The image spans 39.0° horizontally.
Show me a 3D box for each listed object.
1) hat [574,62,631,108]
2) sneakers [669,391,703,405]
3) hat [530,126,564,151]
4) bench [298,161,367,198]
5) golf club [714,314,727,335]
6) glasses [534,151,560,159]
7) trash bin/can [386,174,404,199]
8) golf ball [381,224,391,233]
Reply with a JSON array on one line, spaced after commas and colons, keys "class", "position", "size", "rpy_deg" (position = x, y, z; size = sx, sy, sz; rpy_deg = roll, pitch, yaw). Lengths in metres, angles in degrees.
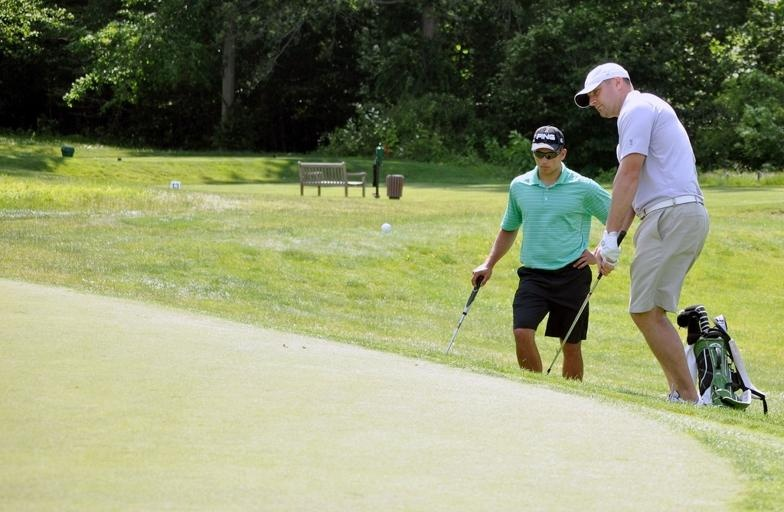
[{"class": "hat", "position": [2.759, -2.271, 14.379], "size": [0.781, 0.420, 0.514], "rpy_deg": [-18, 6, -1]}, {"class": "sneakers", "position": [3.620, 1.786, 13.732], "size": [0.465, 0.197, 0.157], "rpy_deg": [1, -5, 9]}, {"class": "hat", "position": [2.139, -1.577, 15.093], "size": [0.400, 0.346, 0.528], "rpy_deg": [8, 12, 6]}, {"class": "bench", "position": [-1.742, -2.146, 31.881], "size": [1.718, 0.919, 0.916], "rpy_deg": [5, 4, 40]}, {"class": "golf club", "position": [4.151, 0.897, 14.023], "size": [0.180, 0.237, 0.087], "rpy_deg": [-21, 0, -18]}, {"class": "glasses", "position": [2.081, -1.341, 14.948], "size": [0.331, 0.133, 0.106], "rpy_deg": [9, 12, 9]}, {"class": "trash bin/can", "position": [0.046, -1.823, 30.189], "size": [0.611, 0.772, 0.602], "rpy_deg": [0, 1, -9]}, {"class": "golf ball", "position": [-0.114, -0.548, 24.011], "size": [0.189, 0.180, 0.186], "rpy_deg": [4, 49, -5]}]
